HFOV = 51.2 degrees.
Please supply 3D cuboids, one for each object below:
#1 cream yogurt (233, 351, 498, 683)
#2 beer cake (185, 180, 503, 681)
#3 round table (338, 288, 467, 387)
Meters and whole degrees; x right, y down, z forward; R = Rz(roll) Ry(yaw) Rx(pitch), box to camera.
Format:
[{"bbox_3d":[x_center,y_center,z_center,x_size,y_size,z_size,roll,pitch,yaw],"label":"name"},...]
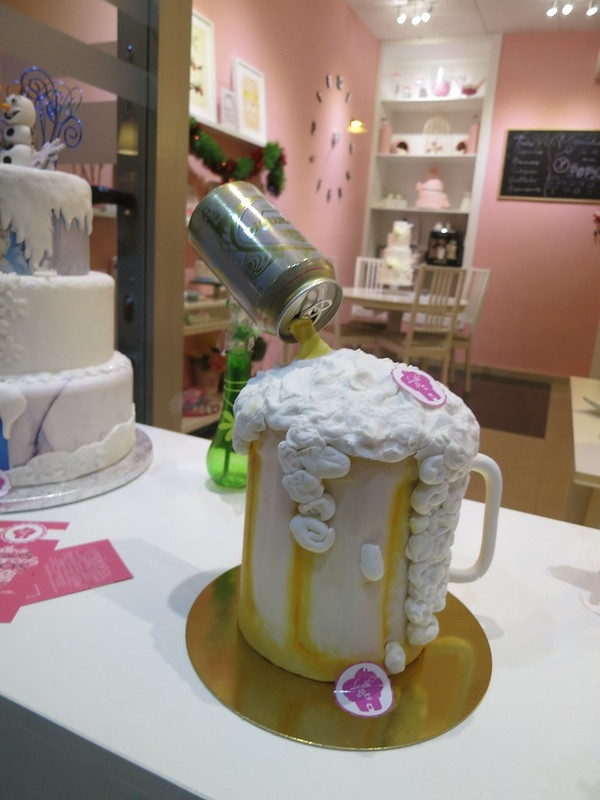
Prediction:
[{"bbox_3d":[0.049,0.106,0.580,0.225,0.230,0.201,9,10,37],"label":"cream yogurt"},{"bbox_3d":[0.074,0.025,0.648,0.263,0.436,0.291,-7,17,-42],"label":"beer cake"},{"bbox_3d":[0.557,-0.427,3.529,0.612,0.485,0.558,1,12,0],"label":"round table"}]
